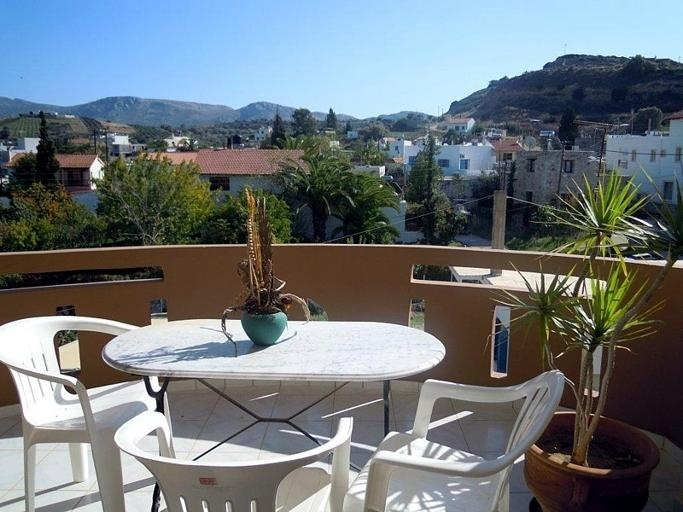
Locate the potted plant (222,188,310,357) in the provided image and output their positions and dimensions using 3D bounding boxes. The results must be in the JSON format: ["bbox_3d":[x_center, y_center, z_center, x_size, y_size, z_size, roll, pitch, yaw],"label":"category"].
[{"bbox_3d":[-0.398,0.044,2.893,0.526,0.869,0.465,0,-3,-40],"label":"potted plant"}]
